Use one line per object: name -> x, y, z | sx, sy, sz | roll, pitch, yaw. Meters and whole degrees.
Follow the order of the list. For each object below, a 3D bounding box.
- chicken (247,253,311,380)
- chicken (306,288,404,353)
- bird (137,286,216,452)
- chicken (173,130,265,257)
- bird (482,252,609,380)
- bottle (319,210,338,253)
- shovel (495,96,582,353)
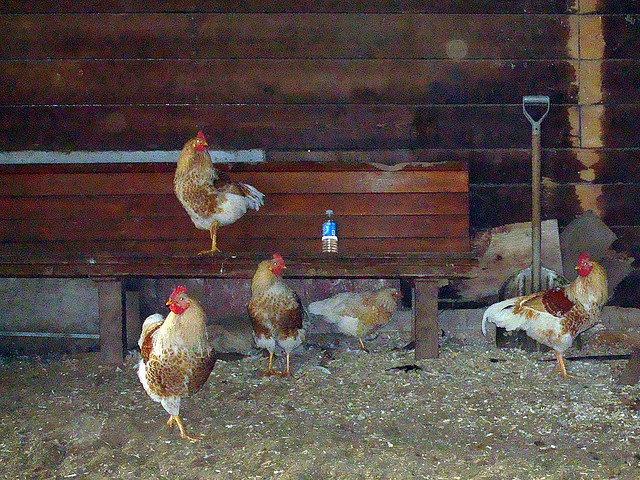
chicken -> -0.521, 0.777, 9.959 | 0.725, 1.225, 0.675 | 1, 12, -10
chicken -> 0.394, 0.884, 10.618 | 0.858, 0.744, 0.877 | 4, 9, -6
bird -> -1.383, 1.180, 9.029 | 0.891, 1.461, 0.519 | 9, 22, 37
chicken -> -1.055, -0.475, 10.109 | 0.977, 1.269, 0.629 | 12, -11, -37
bird -> 2.465, 0.862, 10.076 | 1.183, 1.081, 0.407 | -7, -10, 17
bottle -> 0.092, -0.083, 10.239 | 0.194, 0.398, 0.347 | -4, 17, 2
shovel -> 2.378, -0.093, 10.315 | 1.000, 2.839, 0.155 | -4, 9, -19
